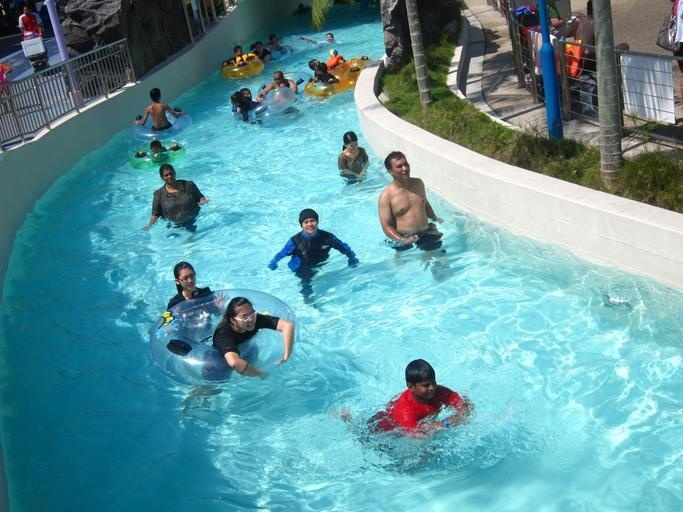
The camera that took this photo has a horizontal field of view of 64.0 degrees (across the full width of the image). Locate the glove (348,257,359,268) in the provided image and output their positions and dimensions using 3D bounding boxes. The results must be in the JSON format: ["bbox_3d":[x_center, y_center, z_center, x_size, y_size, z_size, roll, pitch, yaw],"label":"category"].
[{"bbox_3d":[0.173,0.089,8.424,0.134,0.109,0.138,1,31,4],"label":"glove"}]

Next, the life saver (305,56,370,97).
[{"bbox_3d":[-0.041,-5.047,15.598,1.544,0.423,1.587,-10,27,42],"label":"life saver"}]

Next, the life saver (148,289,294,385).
[{"bbox_3d":[-1.756,0.996,7.155,1.299,0.366,1.348,-3,24,9],"label":"life saver"}]

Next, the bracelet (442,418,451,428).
[{"bbox_3d":[1.038,1.671,5.468,0.061,0.083,0.086,-4,36,-14],"label":"bracelet"}]

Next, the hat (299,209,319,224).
[{"bbox_3d":[-0.493,-0.593,8.132,0.219,0.191,0.237,-6,-6,-22],"label":"hat"}]

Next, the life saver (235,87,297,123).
[{"bbox_3d":[-2.251,-4.046,14.860,1.179,0.323,1.170,-22,28,-32],"label":"life saver"}]

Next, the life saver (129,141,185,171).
[{"bbox_3d":[-4.402,-2.433,13.202,0.884,0.232,0.875,-22,18,-23],"label":"life saver"}]

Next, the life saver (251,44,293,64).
[{"bbox_3d":[-2.707,-7.625,20.561,1.012,0.509,1.409,-8,30,0],"label":"life saver"}]

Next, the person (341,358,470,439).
[{"bbox_3d":[0.649,1.498,5.740,0.588,0.515,1.136,-25,0,-44],"label":"person"}]

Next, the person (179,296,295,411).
[{"bbox_3d":[-1.090,0.931,6.673,0.888,0.950,0.617,-26,36,-26],"label":"person"}]

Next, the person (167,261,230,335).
[{"bbox_3d":[-2.069,0.528,7.639,0.759,0.321,0.921,-31,71,-2],"label":"person"}]

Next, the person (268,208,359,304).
[{"bbox_3d":[-0.463,0.126,8.624,1.317,1.967,0.558,-8,46,-6],"label":"person"}]
